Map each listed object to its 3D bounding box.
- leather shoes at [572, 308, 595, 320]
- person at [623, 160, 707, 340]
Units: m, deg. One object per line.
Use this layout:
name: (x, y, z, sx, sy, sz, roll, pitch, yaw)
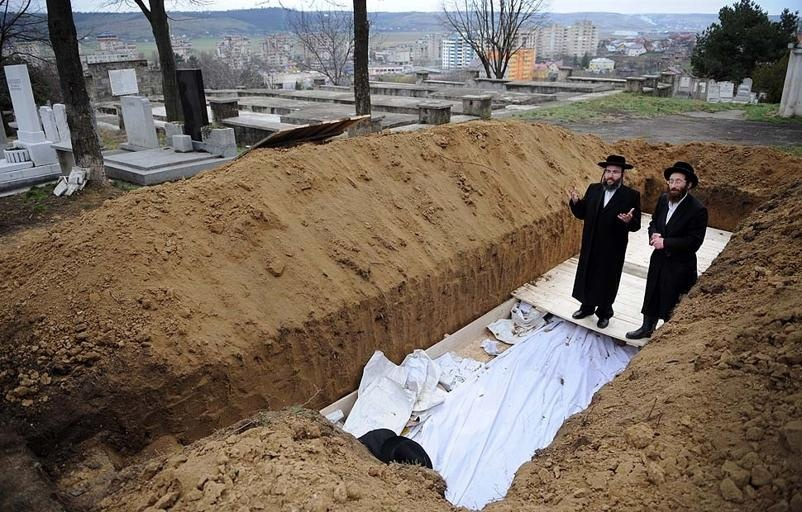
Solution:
leather shoes: (2.816, 0.911, 6.957, 0.382, 0.249, 0.139, -1, 35, 5)
person: (3.637, 0.018, 6.085, 0.716, 2.505, 0.692, 10, 23, 33)
